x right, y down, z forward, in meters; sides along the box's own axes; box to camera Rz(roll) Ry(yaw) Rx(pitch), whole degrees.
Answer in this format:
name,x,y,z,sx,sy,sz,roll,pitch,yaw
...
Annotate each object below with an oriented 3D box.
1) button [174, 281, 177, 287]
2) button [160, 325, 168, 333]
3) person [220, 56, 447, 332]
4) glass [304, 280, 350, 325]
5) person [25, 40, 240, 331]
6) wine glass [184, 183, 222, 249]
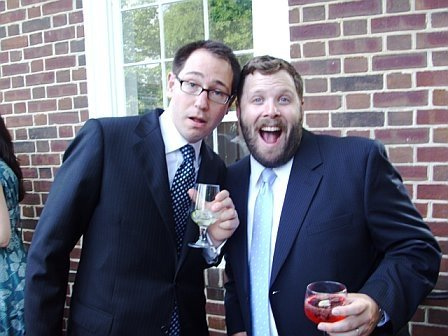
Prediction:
name,x,y,z,sx,sy,sz,roll,pitch,yaw
button,-0.241,0.590,2.104,0.005,0.021,0.020,-1,1,13
button,-0.298,0.812,2.078,0.039,0.038,0.004,-2,2,-14
person,0.480,0.122,2.132,1.103,1.476,0.679,-1,2,37
glass,0.474,0.571,1.793,0.182,0.138,0.184,0,-8,1
person,-0.455,0.118,2.219,1.151,1.602,0.394,-2,2,-3
wine glass,-0.103,0.265,2.177,0.197,0.366,0.249,-2,1,-7
